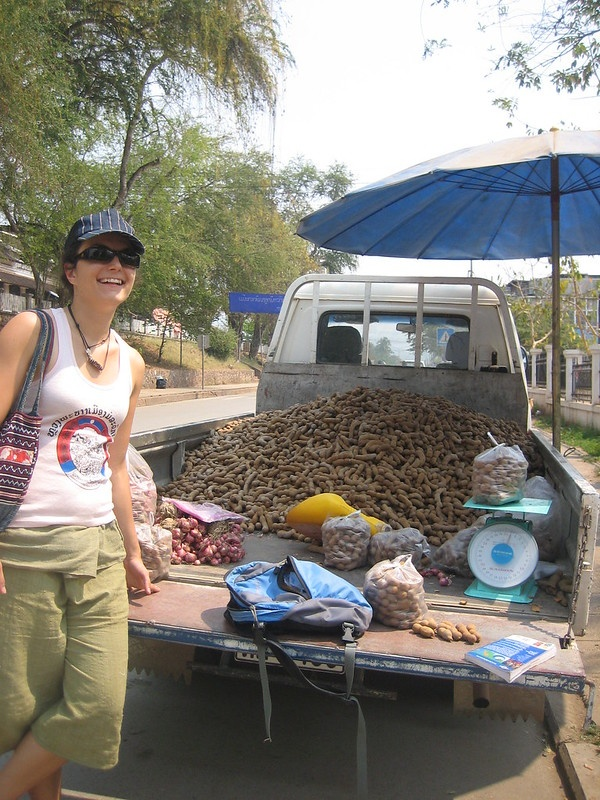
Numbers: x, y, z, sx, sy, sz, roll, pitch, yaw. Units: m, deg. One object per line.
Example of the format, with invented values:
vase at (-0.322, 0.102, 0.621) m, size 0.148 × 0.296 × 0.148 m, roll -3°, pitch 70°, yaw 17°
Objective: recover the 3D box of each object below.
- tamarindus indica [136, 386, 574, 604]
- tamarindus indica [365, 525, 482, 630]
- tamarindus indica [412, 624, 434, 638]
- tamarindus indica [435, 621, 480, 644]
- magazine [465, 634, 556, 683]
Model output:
tamarindus indica at (0.264, 0.450, 3.930) m, size 1.579 × 0.407 × 1.487 m, roll 1°, pitch 1°, yaw 12°
tamarindus indica at (0.358, 0.709, 2.283) m, size 0.209 × 0.156 × 0.374 m, roll -3°, pitch 21°, yaw -1°
tamarindus indica at (0.420, 0.797, 2.009) m, size 0.042 × 0.016 × 0.042 m, roll 2°, pitch 8°, yaw 18°
tamarindus indica at (0.523, 0.790, 1.976) m, size 0.065 × 0.018 × 0.063 m, roll 2°, pitch 3°, yaw 0°
magazine at (0.662, 0.806, 1.819) m, size 0.334 × 0.055 × 0.181 m, roll 6°, pitch -6°, yaw -43°
